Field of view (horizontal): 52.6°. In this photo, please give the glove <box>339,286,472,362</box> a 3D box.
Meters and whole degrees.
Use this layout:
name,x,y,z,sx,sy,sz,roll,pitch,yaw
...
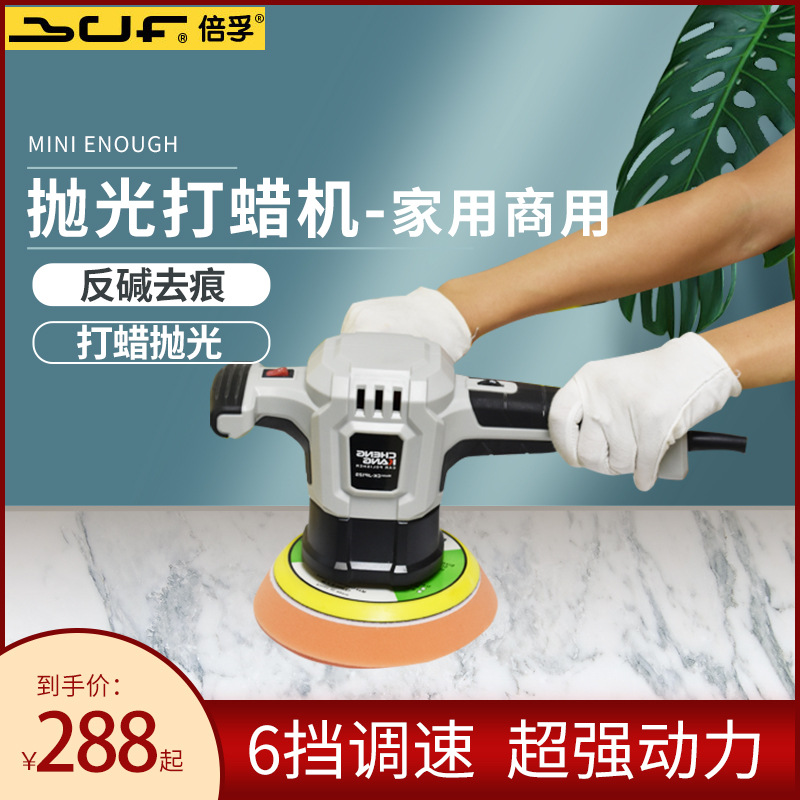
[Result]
name,x,y,z,sx,sy,sz,roll,pitch,yaw
glove,0.015,-0.132,1.322,0.151,0.078,0.122,2,6,-12

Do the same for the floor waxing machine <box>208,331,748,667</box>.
name,x,y,z,sx,sy,sz,roll,pitch,yaw
floor waxing machine,0.100,0.106,1.297,0.720,0.459,0.405,1,12,2
